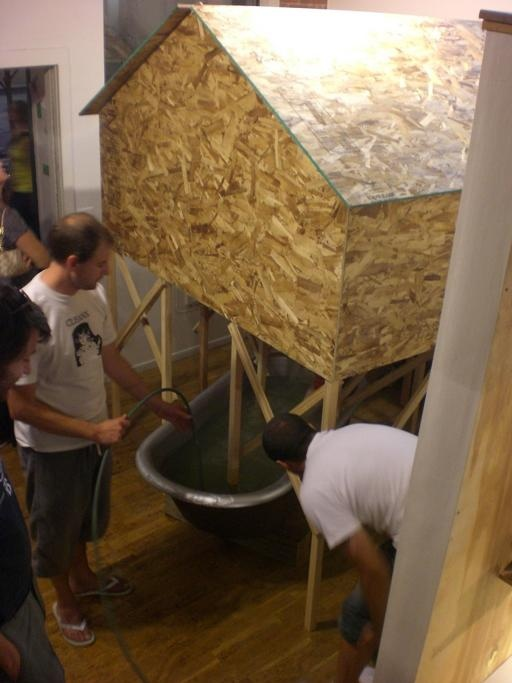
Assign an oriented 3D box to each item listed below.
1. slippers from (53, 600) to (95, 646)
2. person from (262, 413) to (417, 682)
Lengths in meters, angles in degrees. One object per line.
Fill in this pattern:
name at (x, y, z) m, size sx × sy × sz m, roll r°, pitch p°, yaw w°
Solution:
slippers at (-0.839, 1.312, 2.588) m, size 0.103 × 0.064 × 0.240 m, roll -9°, pitch 38°, yaw -46°
person at (0.247, 0.804, 2.018) m, size 0.486 × 1.083 × 0.332 m, roll 8°, pitch 26°, yaw 16°
